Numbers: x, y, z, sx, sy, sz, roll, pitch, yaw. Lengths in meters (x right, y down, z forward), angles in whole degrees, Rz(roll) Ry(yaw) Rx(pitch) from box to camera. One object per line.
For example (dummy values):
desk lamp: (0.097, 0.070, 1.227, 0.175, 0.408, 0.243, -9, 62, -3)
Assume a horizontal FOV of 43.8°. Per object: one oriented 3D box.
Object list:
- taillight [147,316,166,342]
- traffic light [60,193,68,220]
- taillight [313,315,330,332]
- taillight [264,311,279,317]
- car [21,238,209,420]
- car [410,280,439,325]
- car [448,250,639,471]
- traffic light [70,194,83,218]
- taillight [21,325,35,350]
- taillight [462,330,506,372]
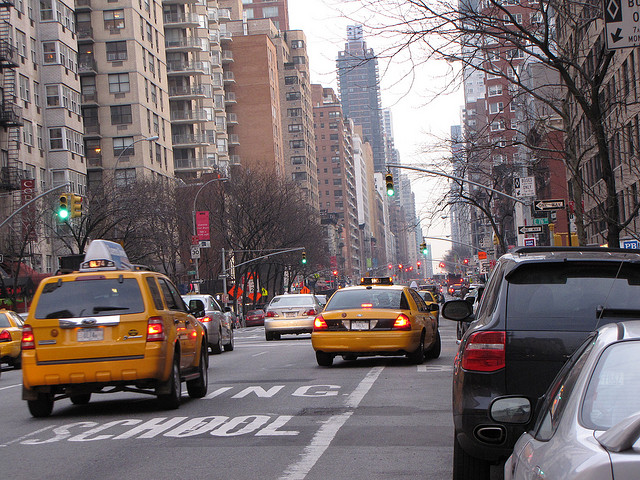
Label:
taillight: (-2.385, 1.298, 11.769, 0.163, 0.372, 0.366, -2, 0, 24)
traffic light: (-9.744, -1.270, 30.389, 0.304, 1.003, 0.775, -3, 0, -18)
taillight: (0.007, 1.798, 17.254, 0.158, 0.336, 0.472, -3, 0, -42)
taillight: (-1.933, 2.966, 32.133, 0.230, 0.221, 0.768, -3, 0, -32)
car: (-3.167, 1.529, 12.184, 2.631, 2.580, 1.690, -3, 0, -23)
car: (4.297, 2.312, 32.298, 1.447, 1.044, 3.145, 0, 1, 9)
car: (1.683, 0.847, 5.663, 1.102, 0.923, 2.407, 0, 0, 6)
traffic light: (-9.758, -1.388, 31.921, 0.369, 0.949, 1.746, -3, 0, -18)
taillight: (-4.305, 1.428, 11.765, 0.110, 0.376, 0.291, -3, 1, -38)
taillight: (1.359, 0.910, 6.605, 0.362, 0.295, 0.123, -3, 0, 37)
